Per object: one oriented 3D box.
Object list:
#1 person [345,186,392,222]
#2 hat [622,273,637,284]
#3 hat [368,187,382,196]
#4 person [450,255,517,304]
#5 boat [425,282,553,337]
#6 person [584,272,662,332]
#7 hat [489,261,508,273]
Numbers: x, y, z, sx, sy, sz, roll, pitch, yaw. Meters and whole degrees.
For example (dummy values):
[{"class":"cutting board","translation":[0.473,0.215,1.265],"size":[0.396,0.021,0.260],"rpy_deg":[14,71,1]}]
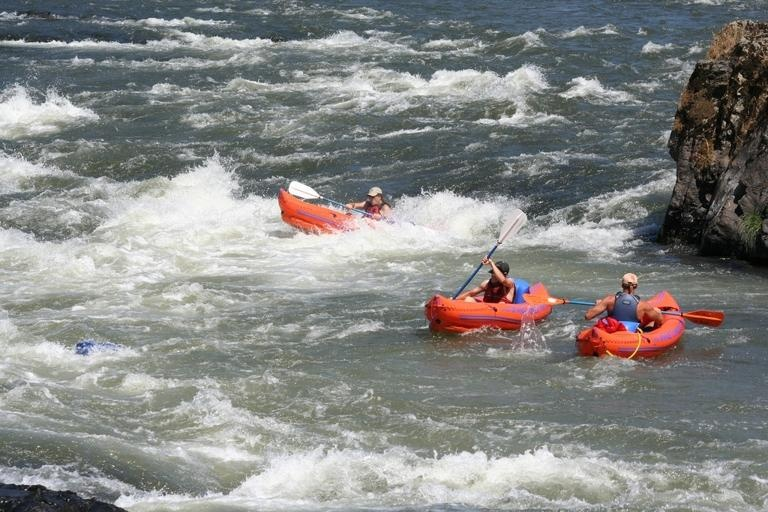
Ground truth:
[{"class":"person","translation":[-0.376,-1.309,36.818],"size":[0.971,1.057,1.125],"rpy_deg":[-7,16,-43]},{"class":"hat","translation":[5.353,0.478,31.007],"size":[0.325,0.206,0.330],"rpy_deg":[3,14,-2]},{"class":"hat","translation":[-0.150,-1.633,36.496],"size":[0.282,0.143,0.399],"rpy_deg":[7,-1,40]},{"class":"person","translation":[2.245,0.678,32.011],"size":[1.611,1.002,1.021],"rpy_deg":[1,-8,-34]},{"class":"boat","translation":[2.303,1.269,31.690],"size":[2.338,0.513,1.064],"rpy_deg":[-2,10,-17]},{"class":"person","translation":[5.248,0.971,31.212],"size":[1.834,0.778,1.774],"rpy_deg":[11,31,4]},{"class":"hat","translation":[2.629,0.252,31.992],"size":[0.289,0.306,0.492],"rpy_deg":[6,13,10]}]
